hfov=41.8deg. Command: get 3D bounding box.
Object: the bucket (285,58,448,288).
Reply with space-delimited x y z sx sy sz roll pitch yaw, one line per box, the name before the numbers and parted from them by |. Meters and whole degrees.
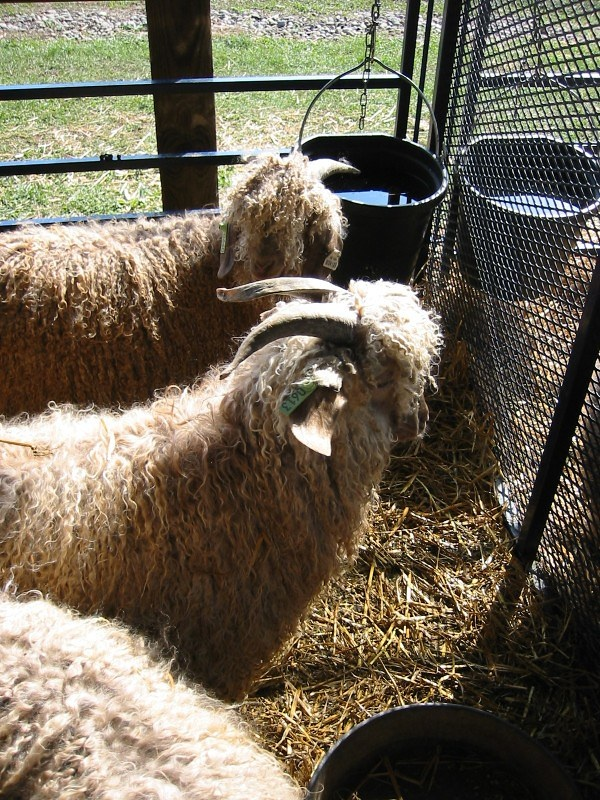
bucket | 0.348 -1.183 4.139 0.793 1.128 0.742 10 4 -1
